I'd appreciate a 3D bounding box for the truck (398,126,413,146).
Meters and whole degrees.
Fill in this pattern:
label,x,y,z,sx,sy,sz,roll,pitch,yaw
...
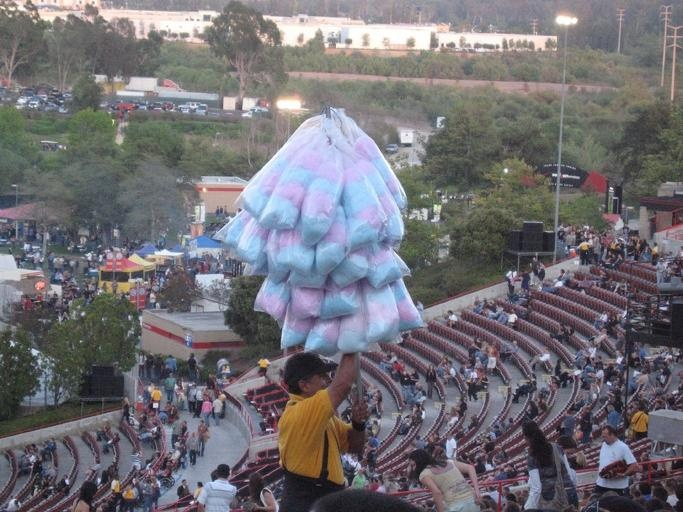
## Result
label,x,y,z,sx,sy,sz,roll,pitch,yaw
truck,8.997,-16.711,217.826,1.875,2.297,2.245,1,4,32

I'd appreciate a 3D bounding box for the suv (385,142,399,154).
label,x,y,z,sx,sy,sz,roll,pitch,yaw
suv,6.674,-14.659,211.134,1.198,0.936,2.555,-1,4,8
